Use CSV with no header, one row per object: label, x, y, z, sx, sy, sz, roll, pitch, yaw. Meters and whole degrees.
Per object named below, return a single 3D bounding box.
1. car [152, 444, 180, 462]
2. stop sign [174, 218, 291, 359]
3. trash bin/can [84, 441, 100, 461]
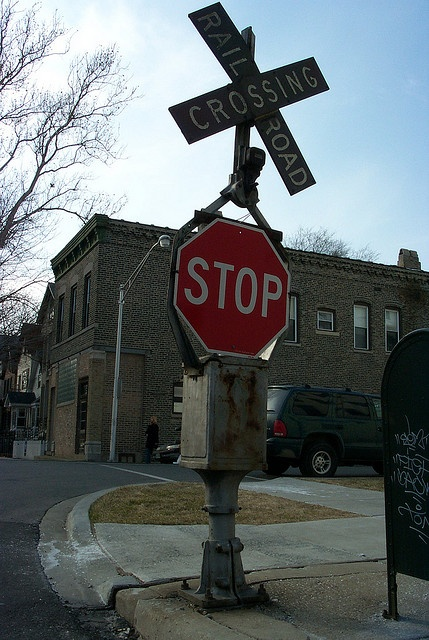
car,-1.611,5.005,22.357,0.940,0.643,1.597,-5,-9,16
stop sign,0.084,-0.170,3.359,0.758,0.783,0.105,7,-15,-37
trash bin/can,-4.725,5.088,23.003,0.676,1.031,0.692,6,-17,-13
